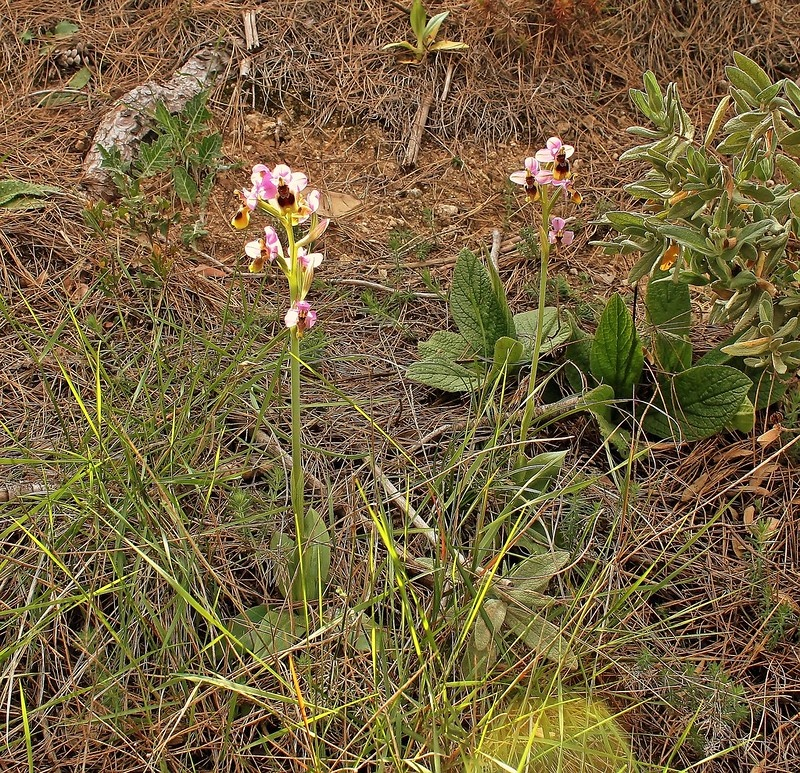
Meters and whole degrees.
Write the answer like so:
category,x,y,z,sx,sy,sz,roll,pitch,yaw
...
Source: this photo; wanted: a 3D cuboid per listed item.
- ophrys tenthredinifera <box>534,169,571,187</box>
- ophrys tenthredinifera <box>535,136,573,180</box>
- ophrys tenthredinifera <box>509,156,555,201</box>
category,x,y,z,sx,sy,sz,roll,pitch,yaw
ophrys tenthredinifera,0.420,-0.568,2.293,0.070,0.055,0.023,20,50,37
ophrys tenthredinifera,0.409,-0.607,2.265,0.094,0.095,0.100,4,57,10
ophrys tenthredinifera,0.363,-0.601,2.358,0.110,0.113,0.140,-2,82,8
